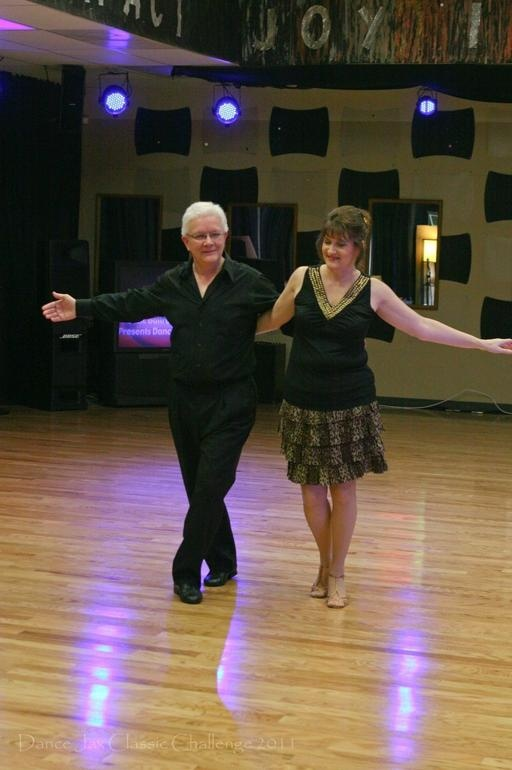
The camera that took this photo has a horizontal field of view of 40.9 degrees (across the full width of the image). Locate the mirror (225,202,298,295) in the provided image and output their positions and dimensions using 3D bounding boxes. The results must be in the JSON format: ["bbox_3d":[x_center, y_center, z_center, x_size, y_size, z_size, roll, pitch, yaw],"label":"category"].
[{"bbox_3d":[0.110,-1.792,8.482,0.809,1.029,0.019,4,46,9],"label":"mirror"}]

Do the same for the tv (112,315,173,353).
[{"bbox_3d":[-1.092,-0.472,6.459,0.672,0.398,0.327,-1,4,-7],"label":"tv"}]

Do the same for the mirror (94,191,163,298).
[{"bbox_3d":[-1.725,-2.043,8.731,0.764,0.102,1.233,-1,-31,-15],"label":"mirror"}]

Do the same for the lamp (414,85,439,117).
[{"bbox_3d":[1.865,-3.154,7.605,0.279,0.333,0.364,0,5,1],"label":"lamp"}]

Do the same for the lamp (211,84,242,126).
[{"bbox_3d":[-0.333,-3.297,7.964,0.414,0.549,0.204,-3,-6,5],"label":"lamp"}]

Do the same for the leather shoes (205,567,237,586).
[{"bbox_3d":[-0.147,0.809,2.896,0.052,0.057,0.141,0,-4,32],"label":"leather shoes"}]

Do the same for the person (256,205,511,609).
[{"bbox_3d":[0.352,0.099,2.621,0.587,1.513,0.412,0,2,-29],"label":"person"}]
